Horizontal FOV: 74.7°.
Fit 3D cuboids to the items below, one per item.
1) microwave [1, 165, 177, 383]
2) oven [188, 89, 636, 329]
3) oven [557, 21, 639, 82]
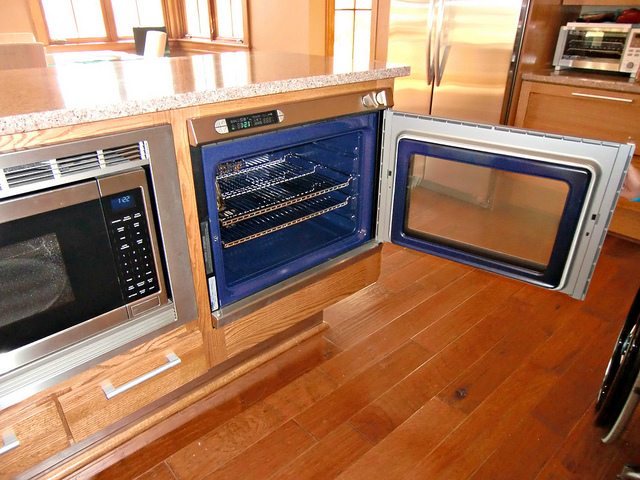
[{"bbox_3d":[-0.745,0.089,1.320,0.666,0.502,0.340,-19,30,-35],"label":"microwave"},{"bbox_3d":[0.233,-0.159,1.923,1.646,0.775,0.992,27,45,35],"label":"oven"},{"bbox_3d":[1.920,-1.299,2.865,0.471,0.302,0.270,27,47,35],"label":"oven"}]
